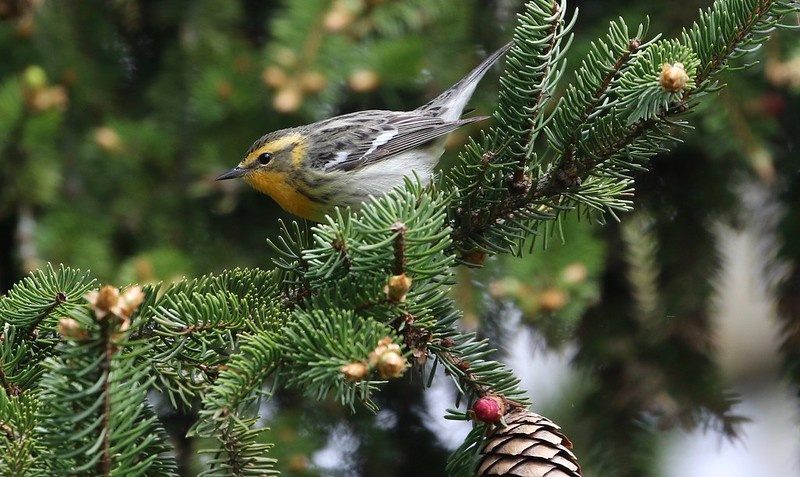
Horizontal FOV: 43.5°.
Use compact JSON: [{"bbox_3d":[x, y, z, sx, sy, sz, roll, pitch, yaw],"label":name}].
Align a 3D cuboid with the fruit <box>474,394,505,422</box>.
[{"bbox_3d":[0.628,1.207,7.175,0.182,0.160,0.116,2,27,6],"label":"fruit"}]
